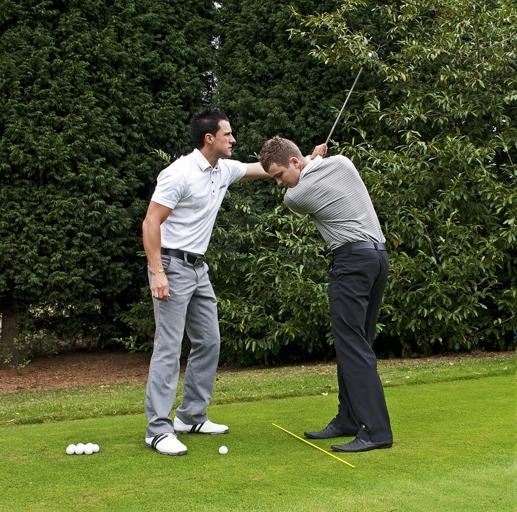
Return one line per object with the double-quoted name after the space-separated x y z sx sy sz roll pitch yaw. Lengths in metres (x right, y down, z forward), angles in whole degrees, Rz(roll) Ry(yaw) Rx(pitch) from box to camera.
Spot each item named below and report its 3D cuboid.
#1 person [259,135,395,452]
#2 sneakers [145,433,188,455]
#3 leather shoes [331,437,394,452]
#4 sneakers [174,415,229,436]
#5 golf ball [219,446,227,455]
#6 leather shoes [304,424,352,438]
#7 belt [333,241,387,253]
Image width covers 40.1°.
0.452 0.188 4.341 0.783 1.856 0.586 1 1 11 "person"
-0.543 1.092 4.169 0.162 0.090 0.295 1 1 -29 "sneakers"
0.591 1.088 4.071 0.323 0.088 0.117 1 -7 -7 "leather shoes"
-0.377 1.095 4.607 0.385 0.155 0.131 -2 -2 6 "sneakers"
-0.200 1.104 4.038 0.037 0.028 0.037 3 6 0 "golf ball"
0.426 1.073 4.419 0.318 0.116 0.106 2 -5 -6 "leather shoes"
0.620 -0.058 4.376 0.329 0.081 0.175 1 1 8 "belt"
